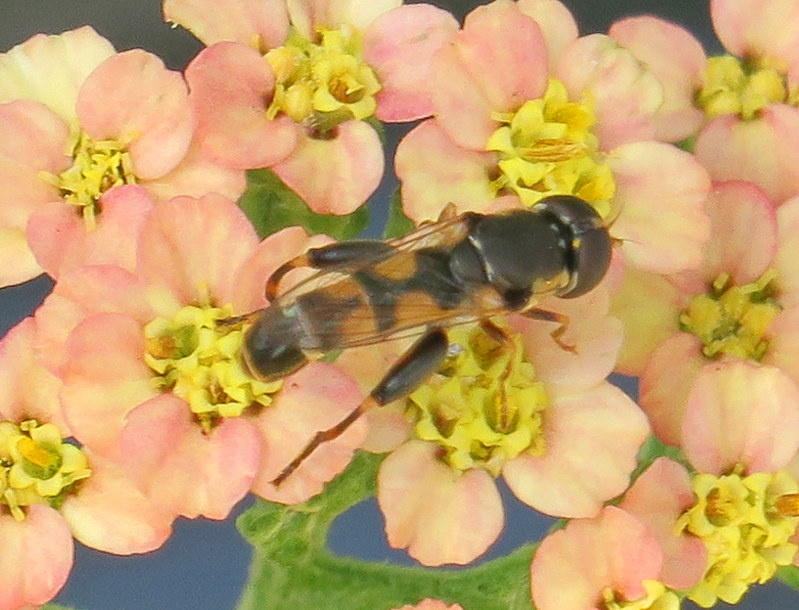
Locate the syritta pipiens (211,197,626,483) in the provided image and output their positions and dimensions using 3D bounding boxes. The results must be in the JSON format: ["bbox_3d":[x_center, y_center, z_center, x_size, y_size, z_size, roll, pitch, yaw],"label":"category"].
[{"bbox_3d":[0.009,-0.004,1.844,0.495,0.153,0.212,-33,71,-9],"label":"syritta pipiens"}]
